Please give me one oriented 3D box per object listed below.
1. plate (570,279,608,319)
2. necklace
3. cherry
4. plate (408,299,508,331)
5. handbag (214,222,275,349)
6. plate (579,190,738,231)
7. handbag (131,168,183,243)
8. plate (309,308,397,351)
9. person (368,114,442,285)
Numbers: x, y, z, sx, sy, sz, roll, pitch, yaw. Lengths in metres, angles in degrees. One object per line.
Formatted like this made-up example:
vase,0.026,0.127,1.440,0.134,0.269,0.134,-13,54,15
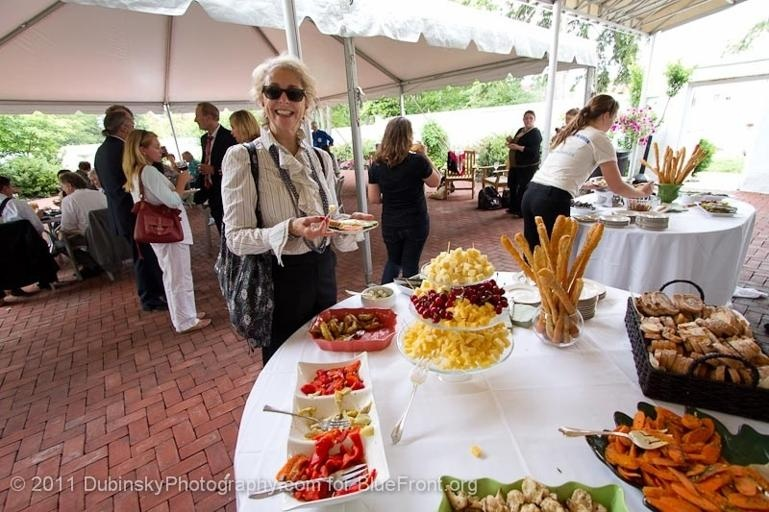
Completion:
plate,1.680,0.332,3.828,0.329,0.131,0.316,-1,20,6
necklace,-0.734,-0.479,3.928,0.500,0.844,0.492,1,16,-14
cherry,0.499,0.268,3.313,0.373,0.144,0.406,-22,13,-35
plate,0.574,0.381,3.538,0.647,0.190,0.503,2,7,-4
handbag,-1.172,0.243,3.891,0.470,0.905,0.415,-3,14,-22
plate,2.690,-0.443,5.170,0.865,0.186,0.835,0,11,9
handbag,-2.528,-0.513,5.170,0.460,0.713,0.209,-7,21,-12
plate,-0.244,0.568,3.638,0.523,0.115,0.335,-1,26,4
person,0.222,-0.724,5.584,0.952,1.773,1.165,2,24,2
